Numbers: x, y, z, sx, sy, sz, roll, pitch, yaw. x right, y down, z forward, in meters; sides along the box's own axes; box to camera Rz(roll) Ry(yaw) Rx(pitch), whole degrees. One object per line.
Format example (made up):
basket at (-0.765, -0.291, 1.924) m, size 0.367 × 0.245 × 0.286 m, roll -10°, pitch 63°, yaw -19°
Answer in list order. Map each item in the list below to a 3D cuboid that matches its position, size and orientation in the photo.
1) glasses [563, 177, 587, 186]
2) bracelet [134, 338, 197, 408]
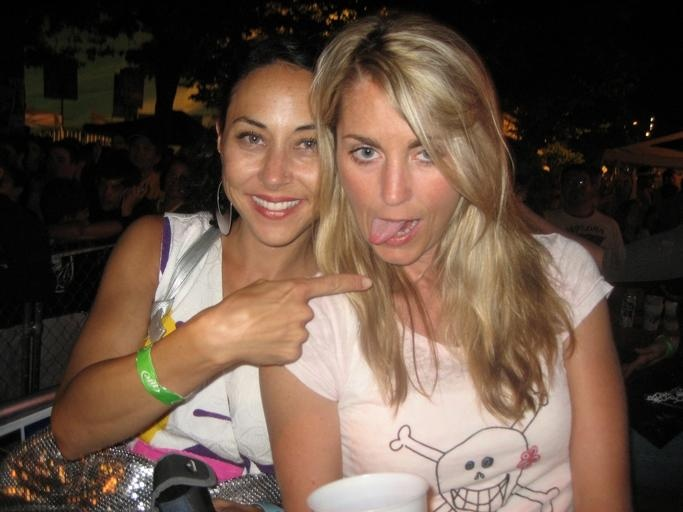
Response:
glasses at (2.927, -0.929, 7.240) m, size 0.160 × 0.123 × 0.166 m, roll 2°, pitch 2°, yaw 40°
bracelet at (-0.904, 0.608, 2.871) m, size 0.096 × 0.286 × 0.260 m, roll -27°, pitch 8°, yaw 24°
